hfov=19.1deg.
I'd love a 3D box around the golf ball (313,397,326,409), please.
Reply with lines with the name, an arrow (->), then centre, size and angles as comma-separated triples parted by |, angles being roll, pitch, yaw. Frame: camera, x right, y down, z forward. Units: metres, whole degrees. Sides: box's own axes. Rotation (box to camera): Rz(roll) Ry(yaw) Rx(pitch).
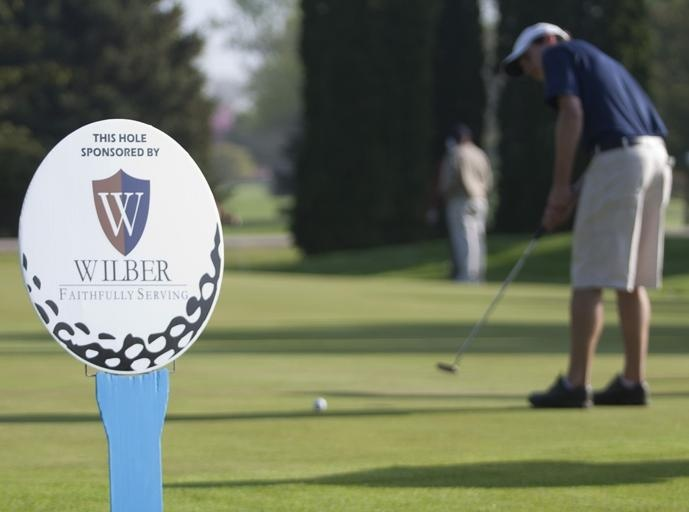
golf ball -> -0.260, 1.630, 22.807 | 0.118, 0.127, 0.113 | 1, -5, 0
